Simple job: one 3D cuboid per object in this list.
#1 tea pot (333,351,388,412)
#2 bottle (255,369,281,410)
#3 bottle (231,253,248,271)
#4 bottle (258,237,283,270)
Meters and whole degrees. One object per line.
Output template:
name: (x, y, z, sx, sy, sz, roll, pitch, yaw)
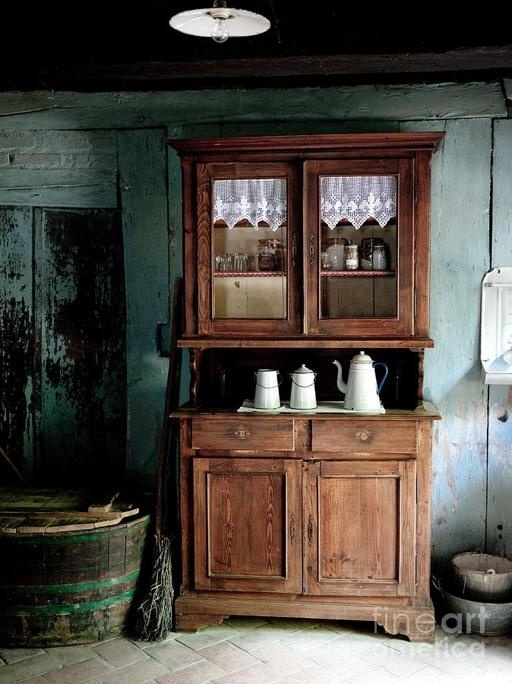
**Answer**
tea pot: (0.434, 0.187, 2.855, 0.296, 0.314, 0.213, -1, -7, 10)
bottle: (0.041, 0.192, 2.807, 0.136, 0.177, 0.141, 1, 4, 0)
bottle: (-0.066, -0.326, 2.773, 0.063, 0.080, 0.035, 4, 13, 9)
bottle: (0.058, -0.356, 2.762, 0.117, 0.123, 0.117, 3, 4, 26)
